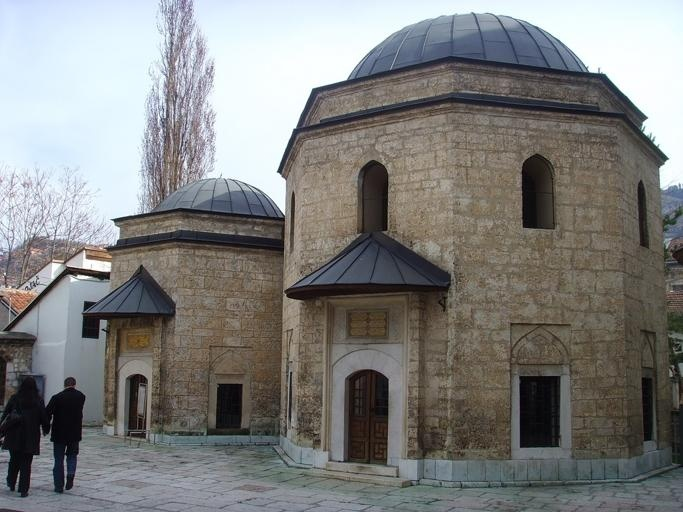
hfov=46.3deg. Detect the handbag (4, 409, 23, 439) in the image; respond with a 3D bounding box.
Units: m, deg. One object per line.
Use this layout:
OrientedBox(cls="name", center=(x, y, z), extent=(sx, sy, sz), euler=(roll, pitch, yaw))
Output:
OrientedBox(cls="handbag", center=(-6.515, 3.278, 15.782), extent=(0.164, 0.413, 0.312), euler=(22, -3, -33))
